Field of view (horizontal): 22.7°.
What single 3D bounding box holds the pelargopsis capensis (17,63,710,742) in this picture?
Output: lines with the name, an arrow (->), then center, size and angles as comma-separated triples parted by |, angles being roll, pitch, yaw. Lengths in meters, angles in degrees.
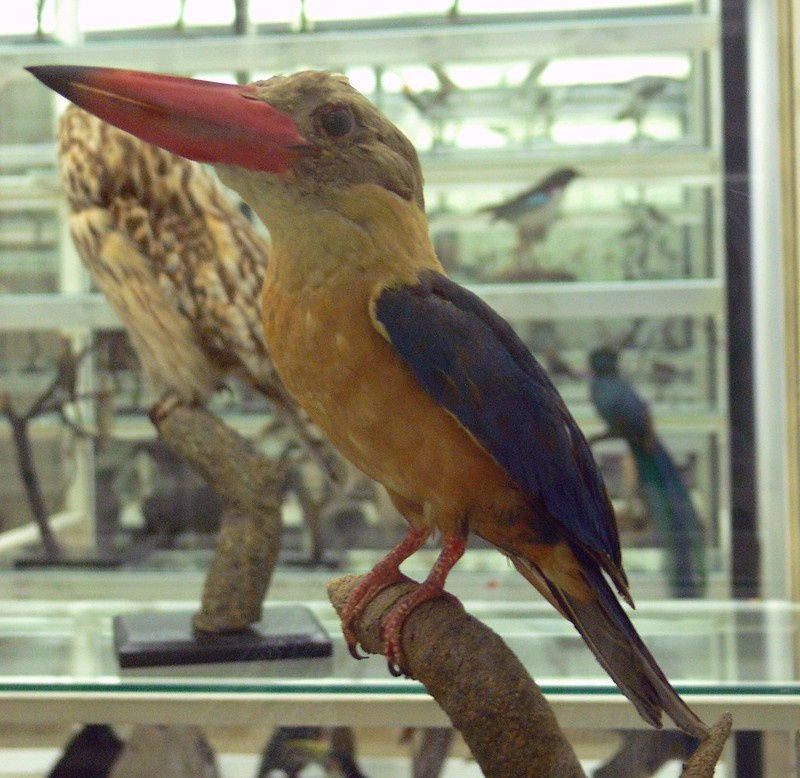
pelargopsis capensis -> -0.001, 0.001, 1.480 | 0.572, 0.451, 0.192 | 9, -14, -32
